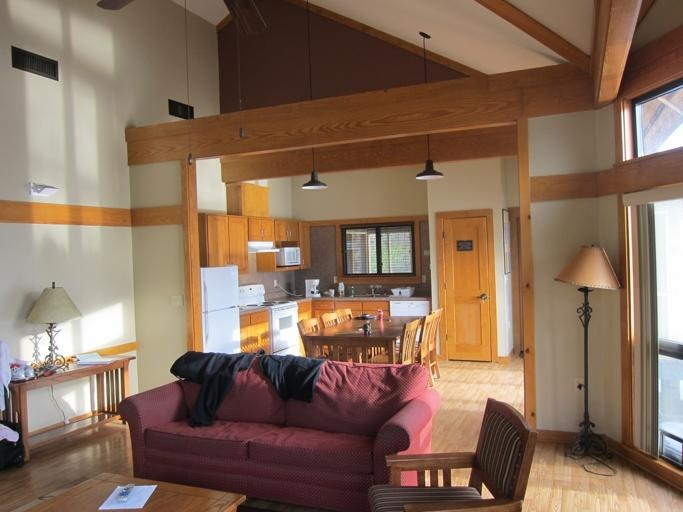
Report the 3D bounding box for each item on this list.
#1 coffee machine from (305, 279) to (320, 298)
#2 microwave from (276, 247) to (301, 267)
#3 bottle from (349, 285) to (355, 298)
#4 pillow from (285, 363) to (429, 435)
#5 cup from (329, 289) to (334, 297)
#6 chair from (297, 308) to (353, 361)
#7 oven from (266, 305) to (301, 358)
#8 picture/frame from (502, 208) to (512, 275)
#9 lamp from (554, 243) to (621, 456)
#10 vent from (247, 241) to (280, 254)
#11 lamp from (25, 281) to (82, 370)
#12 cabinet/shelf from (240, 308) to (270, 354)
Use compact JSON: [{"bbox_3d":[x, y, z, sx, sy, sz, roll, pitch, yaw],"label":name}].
[{"bbox_3d":[-0.539,0.606,10.082,0.300,0.442,0.309,-1,-2,13],"label":"coffee machine"},{"bbox_3d":[-0.948,0.008,9.616,0.299,0.339,0.532,-1,0,21],"label":"microwave"},{"bbox_3d":[0.204,0.626,10.035,0.121,0.210,0.185,-3,-1,0],"label":"bottle"},{"bbox_3d":[0.161,1.243,4.748,1.074,0.632,0.287,-5,-28,31],"label":"pillow"},{"bbox_3d":[-0.201,0.674,9.853,0.104,0.109,0.105,0,-5,0],"label":"cup"},{"bbox_3d":[-0.229,1.017,7.368,0.690,1.049,0.625,0,0,27],"label":"chair"},{"bbox_3d":[-1.139,1.220,9.047,0.604,0.872,0.667,1,4,36],"label":"oven"},{"bbox_3d":[2.760,-0.263,8.845,0.157,1.106,0.999,-4,-1,18],"label":"picture/frame"},{"bbox_3d":[2.397,0.897,5.066,0.539,2.145,0.588,-4,-1,27],"label":"lamp"},{"bbox_3d":[-1.355,-0.163,8.905,0.099,0.184,0.437,-18,-13,36],"label":"vent"},{"bbox_3d":[-3.242,0.739,5.945,0.492,0.775,0.503,11,10,37],"label":"lamp"},{"bbox_3d":[-1.326,1.110,8.010,0.264,0.642,0.698,-2,-3,21],"label":"cabinet/shelf"}]
